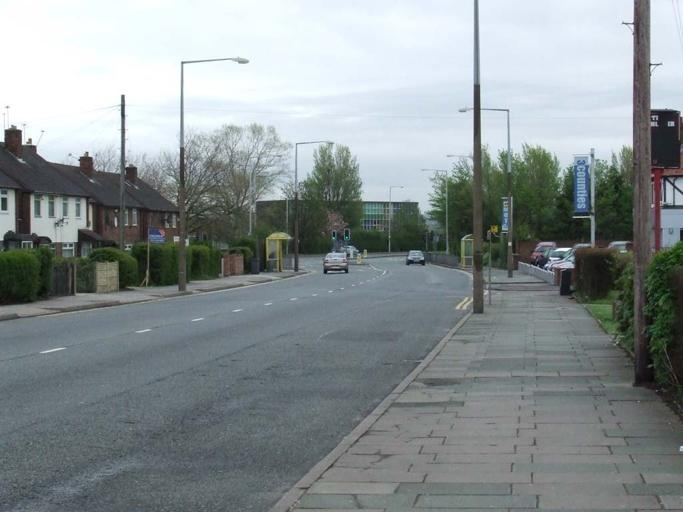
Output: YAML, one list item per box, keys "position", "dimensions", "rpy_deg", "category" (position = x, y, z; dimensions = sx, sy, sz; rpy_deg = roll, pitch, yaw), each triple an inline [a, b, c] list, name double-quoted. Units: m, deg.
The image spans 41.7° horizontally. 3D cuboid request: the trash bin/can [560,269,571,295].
- position: [8.212, 0.983, 33.033]
  dimensions: [0.379, 0.935, 0.565]
  rpy_deg: [-1, 2, 26]
  category: "trash bin/can"
